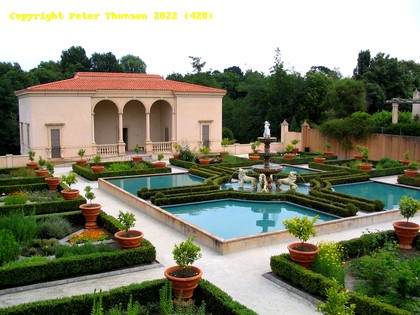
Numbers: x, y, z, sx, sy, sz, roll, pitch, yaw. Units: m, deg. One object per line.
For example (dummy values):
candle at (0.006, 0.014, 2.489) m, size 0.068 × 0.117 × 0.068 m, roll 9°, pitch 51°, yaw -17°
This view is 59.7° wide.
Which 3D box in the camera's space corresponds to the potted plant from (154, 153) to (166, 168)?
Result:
potted plant at (-3.860, 0.158, 26.237) m, size 0.961 × 1.295 × 1.006 m, roll 1°, pitch 1°, yaw 1°

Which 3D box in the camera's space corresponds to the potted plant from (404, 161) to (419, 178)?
potted plant at (12.436, 0.778, 22.598) m, size 0.920 × 1.204 × 1.042 m, roll 0°, pitch 5°, yaw 15°

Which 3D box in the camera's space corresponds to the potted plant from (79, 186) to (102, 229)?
potted plant at (-4.711, 1.901, 14.241) m, size 0.862 × 1.695 × 0.820 m, roll -5°, pitch 6°, yaw -41°

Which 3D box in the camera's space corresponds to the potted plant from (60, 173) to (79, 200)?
potted plant at (-6.392, 1.271, 16.447) m, size 0.827 × 1.211 × 0.768 m, roll 5°, pitch 6°, yaw 39°

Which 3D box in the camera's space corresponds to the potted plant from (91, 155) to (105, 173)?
potted plant at (-7.574, 0.413, 24.061) m, size 1.010 × 1.422 × 1.084 m, roll 0°, pitch -3°, yaw -1°

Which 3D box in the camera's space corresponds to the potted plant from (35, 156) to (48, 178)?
potted plant at (-10.293, 0.501, 22.252) m, size 0.740 × 1.228 × 0.782 m, roll 1°, pitch 15°, yaw -3°

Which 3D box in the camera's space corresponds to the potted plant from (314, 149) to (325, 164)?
potted plant at (8.627, -0.025, 28.866) m, size 0.981 × 1.291 × 1.042 m, roll 1°, pitch 8°, yaw 23°

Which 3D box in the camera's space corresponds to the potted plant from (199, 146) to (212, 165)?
potted plant at (-0.465, -0.114, 27.397) m, size 1.089 × 1.755 × 1.154 m, roll 0°, pitch 0°, yaw -6°

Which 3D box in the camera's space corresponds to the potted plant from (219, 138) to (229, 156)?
potted plant at (1.230, -0.949, 33.178) m, size 0.793 × 1.627 × 2.010 m, roll -1°, pitch 2°, yaw 1°

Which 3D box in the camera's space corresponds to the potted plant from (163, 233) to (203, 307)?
potted plant at (-0.631, 2.903, 9.480) m, size 0.914 × 1.625 × 1.008 m, roll 9°, pitch -3°, yaw -2°

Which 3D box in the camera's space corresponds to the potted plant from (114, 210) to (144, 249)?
potted plant at (-2.636, 2.311, 11.650) m, size 0.894 × 1.260 × 0.929 m, roll 0°, pitch 1°, yaw 39°

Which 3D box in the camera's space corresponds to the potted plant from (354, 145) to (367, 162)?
potted plant at (11.748, -0.330, 28.531) m, size 0.889 × 1.399 × 1.118 m, roll 3°, pitch 9°, yaw 32°
